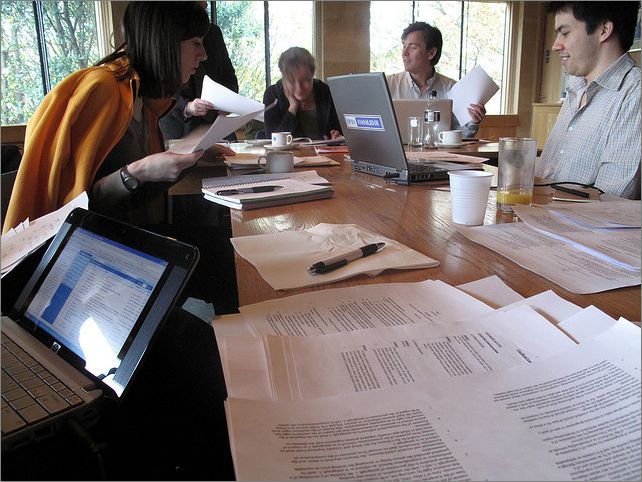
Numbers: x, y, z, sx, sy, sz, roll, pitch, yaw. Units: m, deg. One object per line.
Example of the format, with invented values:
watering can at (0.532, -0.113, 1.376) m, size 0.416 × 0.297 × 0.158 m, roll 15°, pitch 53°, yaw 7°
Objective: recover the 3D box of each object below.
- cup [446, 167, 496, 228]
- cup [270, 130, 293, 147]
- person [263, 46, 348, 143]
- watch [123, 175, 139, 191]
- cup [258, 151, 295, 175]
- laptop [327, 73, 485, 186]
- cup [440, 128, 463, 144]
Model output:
cup at (0.328, -0.105, 1.046) m, size 0.111 × 0.127 × 0.120 m, roll -1°, pitch 10°, yaw 0°
cup at (-0.224, -0.570, 2.486) m, size 0.083 × 0.083 × 0.110 m, roll -15°, pitch 28°, yaw -36°
person at (-0.174, -1.260, 3.951) m, size 0.652 × 1.051 × 1.001 m, roll -5°, pitch 14°, yaw -3°
watch at (-0.649, -0.196, 1.512) m, size 0.050 × 0.053 × 0.014 m, roll 2°, pitch 24°, yaw 8°
cup at (-0.174, -0.316, 1.727) m, size 0.118 × 0.080 × 0.090 m, roll -5°, pitch 17°, yaw -10°
laptop at (0.308, -0.386, 1.703) m, size 0.469 × 0.386 × 0.449 m, roll -8°, pitch 17°, yaw -24°
cup at (0.760, -0.611, 2.581) m, size 0.111 × 0.086 × 0.089 m, roll -3°, pitch 19°, yaw 1°
